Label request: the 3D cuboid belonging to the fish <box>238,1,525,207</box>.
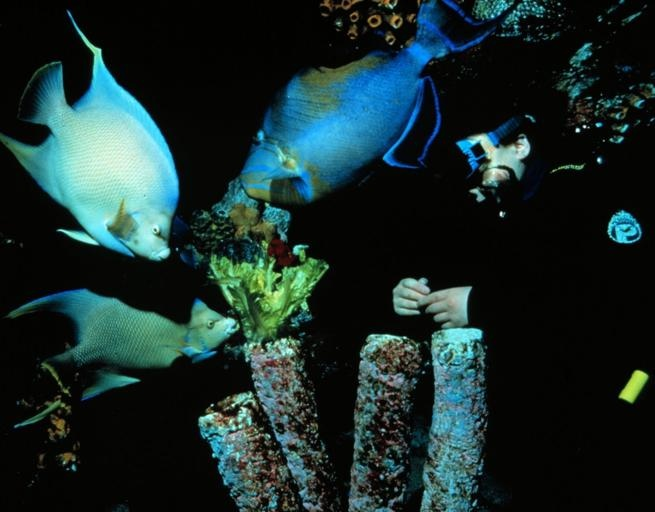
[{"bbox_3d":[0.199,-0.677,3.270,0.792,0.473,0.258,-35,33,5],"label":"fish"}]
